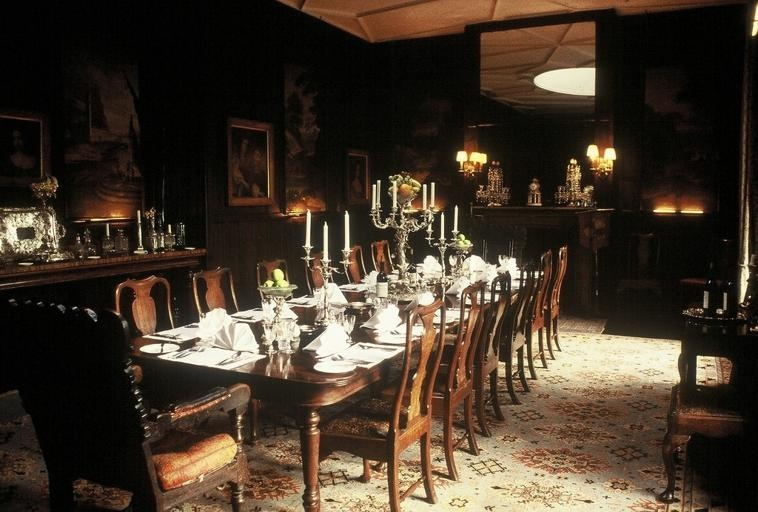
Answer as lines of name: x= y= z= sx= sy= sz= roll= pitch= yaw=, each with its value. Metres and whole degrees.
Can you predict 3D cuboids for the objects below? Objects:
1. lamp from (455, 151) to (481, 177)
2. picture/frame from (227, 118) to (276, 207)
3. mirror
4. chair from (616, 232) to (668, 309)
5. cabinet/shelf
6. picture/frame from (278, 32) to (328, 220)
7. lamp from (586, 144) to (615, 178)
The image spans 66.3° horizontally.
lamp: x=1.563 y=-1.584 z=9.918 sx=0.453 sy=0.516 sz=0.439 roll=1 pitch=3 yaw=32
picture/frame: x=-1.751 y=-1.274 z=7.803 sx=0.113 sy=1.423 sz=1.309 roll=0 pitch=1 yaw=22
mirror: x=2.722 y=-2.556 z=9.654 sx=3.205 sy=3.099 sz=0.147 roll=2 pitch=11 yaw=25
chair: x=4.202 y=0.205 z=9.323 sx=0.702 sy=1.132 sz=0.464 roll=0 pitch=5 yaw=23
cabinet/shelf: x=2.343 y=-0.026 z=8.104 sx=1.816 sy=1.454 sz=0.635 roll=1 pitch=3 yaw=17
picture/frame: x=-1.142 y=-1.832 z=8.902 sx=0.229 sy=2.386 sz=1.078 roll=0 pitch=5 yaw=19
lamp: x=3.522 y=-1.515 z=9.164 sx=0.215 sy=0.673 sz=0.605 roll=-4 pitch=3 yaw=18
